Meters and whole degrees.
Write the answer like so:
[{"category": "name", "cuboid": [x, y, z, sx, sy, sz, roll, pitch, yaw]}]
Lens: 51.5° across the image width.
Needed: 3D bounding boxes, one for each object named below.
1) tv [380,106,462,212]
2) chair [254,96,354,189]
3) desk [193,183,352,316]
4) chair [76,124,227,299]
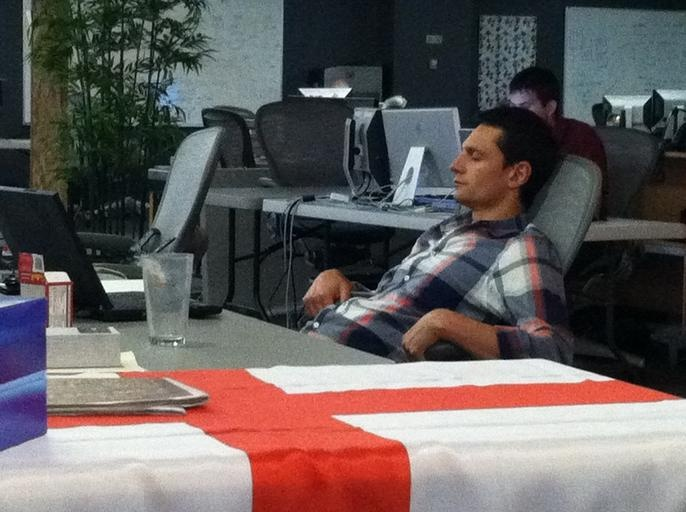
[{"category": "tv", "cuboid": [0.323, -0.396, 2.897, 0.159, 0.455, 0.435, -13, 16, -40]}, {"category": "chair", "cuboid": [-0.212, -0.683, 4.384, 0.529, 0.690, 0.558, -1, 8, -10]}, {"category": "desk", "cuboid": [-0.343, -0.123, 3.678, 0.713, 0.687, 0.689, -4, 7, -44]}, {"category": "chair", "cuboid": [-0.613, -0.192, 2.300, 0.409, 0.473, 0.338, 4, 2, -24]}]
